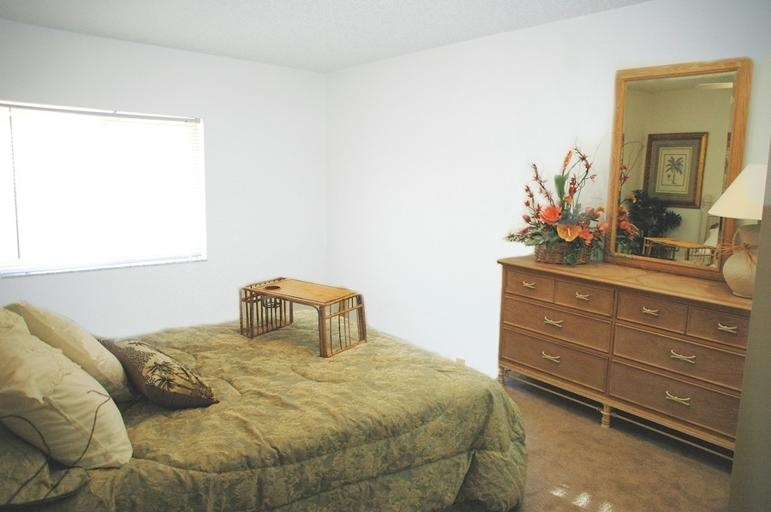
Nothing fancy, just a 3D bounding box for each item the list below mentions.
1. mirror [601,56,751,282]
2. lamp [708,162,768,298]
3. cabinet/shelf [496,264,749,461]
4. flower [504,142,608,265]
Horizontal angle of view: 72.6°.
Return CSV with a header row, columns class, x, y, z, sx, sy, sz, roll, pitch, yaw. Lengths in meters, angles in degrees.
class,x,y,z,sx,sy,sz,roll,pitch,yaw
mirror,1.794,-0.754,3.349,0.695,0.064,1.244,2,-28,25
lamp,1.949,-0.151,2.941,0.252,0.740,0.315,8,13,30
cabinet/shelf,1.415,0.613,3.036,0.358,0.632,1.078,-5,10,-43
flower,1.171,-0.356,3.708,0.764,0.760,0.737,3,3,15
